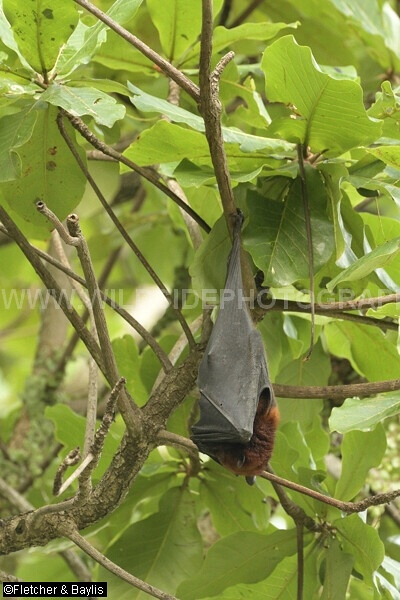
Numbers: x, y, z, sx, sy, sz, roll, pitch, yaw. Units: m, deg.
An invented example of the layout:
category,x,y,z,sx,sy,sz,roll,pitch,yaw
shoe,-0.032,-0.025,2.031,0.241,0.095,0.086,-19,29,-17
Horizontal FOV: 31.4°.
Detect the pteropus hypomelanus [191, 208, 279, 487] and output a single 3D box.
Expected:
category,x,y,z,sx,sy,sz,roll,pitch,yaw
pteropus hypomelanus,0.114,0.122,1.898,0.233,0.717,0.171,5,11,5
